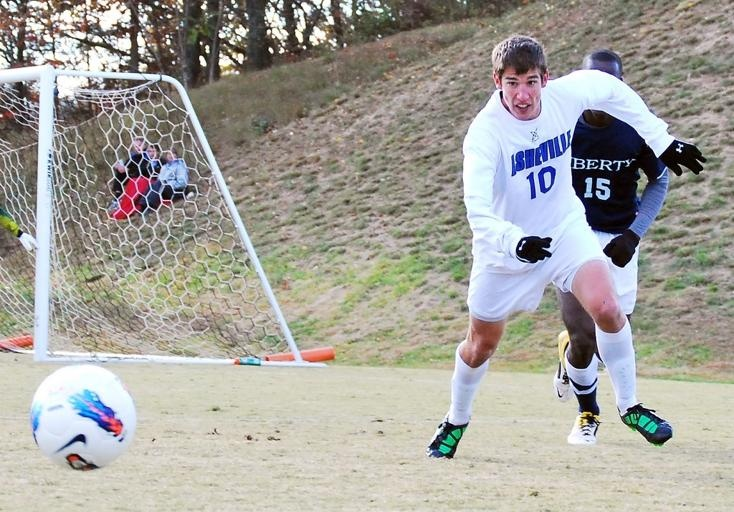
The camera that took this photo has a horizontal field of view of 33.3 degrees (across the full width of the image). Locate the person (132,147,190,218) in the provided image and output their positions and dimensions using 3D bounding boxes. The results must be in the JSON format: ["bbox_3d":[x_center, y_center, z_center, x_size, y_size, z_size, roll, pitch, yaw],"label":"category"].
[{"bbox_3d":[-4.005,-1.402,23.561,0.955,0.723,1.422,14,14,-5],"label":"person"}]

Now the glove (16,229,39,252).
[{"bbox_3d":[-5.153,-0.256,18.608,0.167,0.166,0.502,-38,50,-11],"label":"glove"}]

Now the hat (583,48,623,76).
[{"bbox_3d":[3.040,-2.461,15.714,0.377,0.423,0.458,2,21,5],"label":"hat"}]

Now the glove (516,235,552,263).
[{"bbox_3d":[1.961,-0.082,14.408,0.417,0.318,0.222,-2,9,5],"label":"glove"}]
